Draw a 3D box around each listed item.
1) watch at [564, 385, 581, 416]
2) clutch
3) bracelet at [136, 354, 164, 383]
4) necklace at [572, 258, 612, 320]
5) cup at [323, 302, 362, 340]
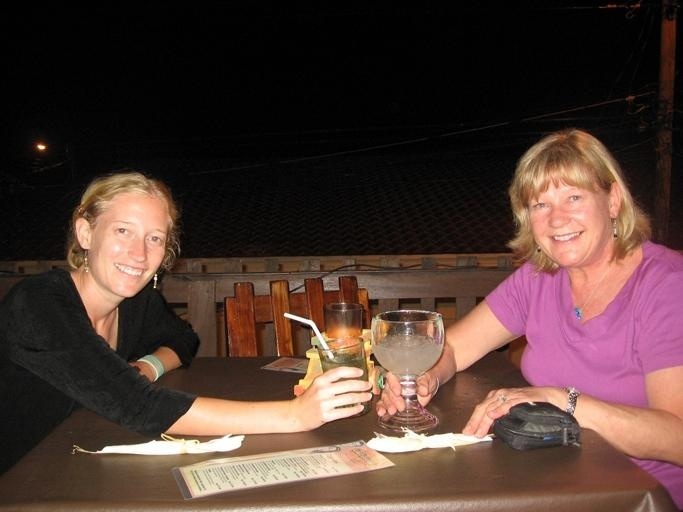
[{"bbox_3d":[0.730,0.463,1.686,0.027,0.070,0.063,13,-10,-25],"label":"watch"},{"bbox_3d":[0.580,0.480,1.563,0.173,0.067,0.152,-5,8,-15],"label":"clutch"},{"bbox_3d":[-0.790,0.467,2.195,0.101,0.091,0.063,6,51,26],"label":"bracelet"},{"bbox_3d":[1.010,0.137,2.174,0.091,0.244,0.073,23,-8,20],"label":"necklace"},{"bbox_3d":[-0.008,0.268,2.180,0.161,0.099,0.153,-1,4,0],"label":"cup"}]
